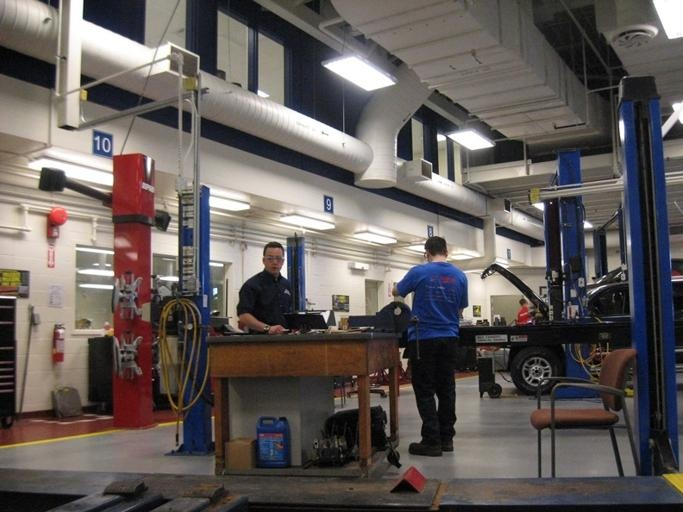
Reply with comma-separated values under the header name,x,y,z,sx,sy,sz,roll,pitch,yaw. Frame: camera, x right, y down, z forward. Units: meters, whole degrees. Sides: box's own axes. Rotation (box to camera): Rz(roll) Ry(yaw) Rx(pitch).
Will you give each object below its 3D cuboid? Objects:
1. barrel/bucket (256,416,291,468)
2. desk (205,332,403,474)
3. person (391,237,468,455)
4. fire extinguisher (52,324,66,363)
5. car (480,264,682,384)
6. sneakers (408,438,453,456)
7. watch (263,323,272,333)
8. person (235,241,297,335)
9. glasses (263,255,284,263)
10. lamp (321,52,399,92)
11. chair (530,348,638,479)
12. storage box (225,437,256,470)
name,x,y,z,sx,sy,sz,roll,pitch,yaw
barrel/bucket,-0.556,1.517,5.234,0.262,0.394,0.207,-1,-2,-1
desk,-0.330,1.017,5.390,1.080,1.004,1.593,-2,-4,13
person,0.841,0.816,6.028,0.748,2.088,0.364,7,-11,-34
fire extinguisher,-4.053,1.273,9.164,0.197,0.563,0.117,8,-11,-36
car,3.389,1.090,8.685,2.852,1.885,1.763,-4,-4,9
sneakers,0.808,1.799,5.916,0.327,0.154,0.188,1,-5,15
watch,-0.650,0.641,5.578,0.051,0.089,0.076,0,1,-7
person,-0.740,0.316,6.156,0.506,0.873,0.406,3,-9,-10
glasses,-0.650,0.032,6.124,0.189,0.066,0.122,4,-10,-16
lamp,0.272,-2.662,9.206,0.575,0.146,1.103,-7,-13,39
chair,2.305,1.518,6.082,1.012,1.577,1.122,1,-9,7
storage box,-0.820,1.606,5.173,0.206,0.215,0.219,-1,0,7
